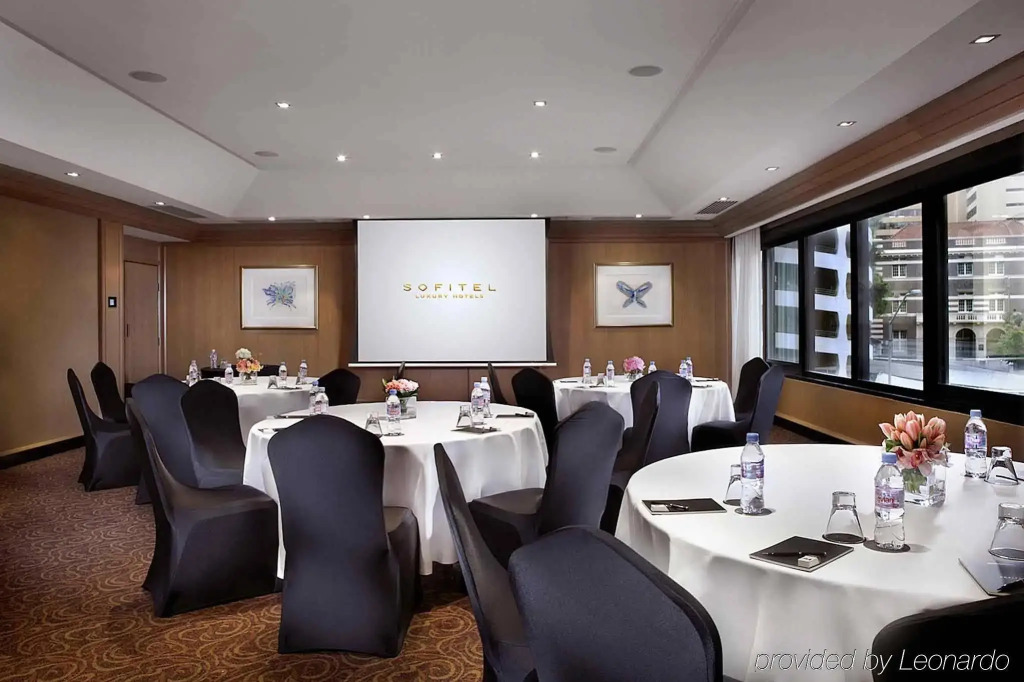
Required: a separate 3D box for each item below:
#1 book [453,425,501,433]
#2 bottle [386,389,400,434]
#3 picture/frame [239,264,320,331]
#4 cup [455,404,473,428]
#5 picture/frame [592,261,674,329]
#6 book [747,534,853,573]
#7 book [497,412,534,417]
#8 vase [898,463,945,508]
[{"bbox_3d":[-0.255,0.632,4.783,0.312,0.033,0.192,-1,2,3],"label":"book"},{"bbox_3d":[-0.853,0.510,4.841,0.099,0.260,0.414,-1,2,-10],"label":"bottle"},{"bbox_3d":[-3.492,-0.651,10.152,0.868,0.823,0.063,-1,1,4],"label":"picture/frame"},{"bbox_3d":[-0.365,0.566,5.012,0.115,0.153,0.121,0,-5,0],"label":"cup"},{"bbox_3d":[1.800,-0.688,10.194,0.910,0.830,0.066,0,1,1],"label":"picture/frame"},{"bbox_3d":[1.286,0.936,2.969,0.469,0.078,0.187,-2,3,-26],"label":"book"},{"bbox_3d":[0.026,0.589,5.319,0.196,0.039,0.099,1,-2,-15],"label":"book"},{"bbox_3d":[2.102,0.717,3.462,0.212,0.230,0.221,-1,-3,-7],"label":"vase"}]
